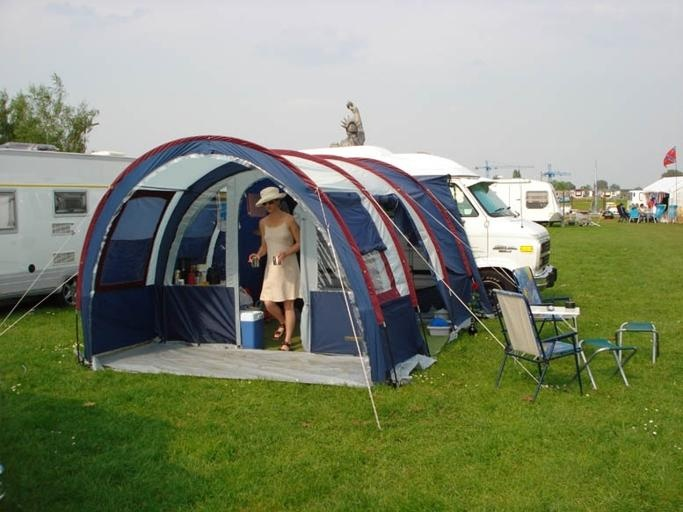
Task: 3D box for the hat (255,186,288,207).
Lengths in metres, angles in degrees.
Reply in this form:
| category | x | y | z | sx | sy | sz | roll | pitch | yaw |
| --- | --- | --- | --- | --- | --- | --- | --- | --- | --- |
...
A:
| category | x | y | z | sx | sy | sz | roll | pitch | yaw |
| --- | --- | --- | --- | --- | --- | --- | --- | --- | --- |
| hat | -0.986 | -0.869 | 8.968 | 0.316 | 0.148 | 0.374 | -23 | -1 | 23 |

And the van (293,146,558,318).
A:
| category | x | y | z | sx | sy | sz | roll | pitch | yaw |
| --- | --- | --- | --- | --- | --- | --- | --- | --- | --- |
| van | 2.454 | -0.693 | 11.553 | 4.487 | 2.439 | 2.679 | -1 | 4 | 9 |

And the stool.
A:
| category | x | y | z | sx | sy | sz | roll | pitch | yaw |
| --- | --- | --- | --- | --- | --- | --- | --- | --- | --- |
| stool | 3.768 | 1.365 | 8.250 | 0.611 | 0.886 | 0.521 | 2 | 9 | -4 |

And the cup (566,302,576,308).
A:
| category | x | y | z | sx | sy | sz | roll | pitch | yaw |
| --- | --- | --- | --- | --- | --- | --- | --- | --- | --- |
| cup | 2.754 | 0.598 | 7.316 | 0.074 | 0.060 | 0.078 | -1 | 0 | 0 |

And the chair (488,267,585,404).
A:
| category | x | y | z | sx | sy | sz | roll | pitch | yaw |
| --- | --- | --- | --- | --- | --- | --- | --- | --- | --- |
| chair | 2.372 | 0.956 | 7.849 | 1.238 | 1.825 | 1.163 | -3 | 4 | -29 |

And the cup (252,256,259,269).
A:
| category | x | y | z | sx | sy | sz | roll | pitch | yaw |
| --- | --- | --- | --- | --- | --- | --- | --- | --- | --- |
| cup | -1.273 | 0.115 | 9.169 | 0.085 | 0.127 | 0.135 | 0 | -4 | -8 |

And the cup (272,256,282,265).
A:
| category | x | y | z | sx | sy | sz | roll | pitch | yaw |
| --- | --- | --- | --- | --- | --- | --- | --- | --- | --- |
| cup | -0.917 | 0.085 | 8.815 | 0.104 | 0.198 | 0.108 | -2 | -3 | 0 |
